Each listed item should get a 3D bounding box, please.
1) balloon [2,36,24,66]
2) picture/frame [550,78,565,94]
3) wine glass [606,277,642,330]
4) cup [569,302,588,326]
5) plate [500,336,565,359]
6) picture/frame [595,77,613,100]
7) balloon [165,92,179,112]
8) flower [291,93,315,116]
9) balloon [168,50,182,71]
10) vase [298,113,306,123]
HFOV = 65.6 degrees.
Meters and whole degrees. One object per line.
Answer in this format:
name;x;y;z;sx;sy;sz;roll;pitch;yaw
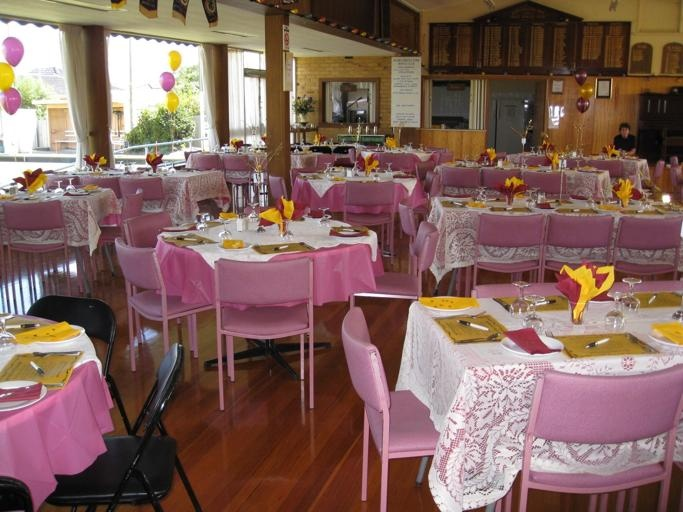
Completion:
balloon;-4.426;-2.752;7.172;0.260;0.350;0.181;-11;16;-31
picture/frame;5.610;-4.381;13.763;0.296;0.357;0.077;-3;8;-5
wine glass;1.433;0.249;2.696;0.104;0.199;0.311;8;25;35
cup;1.172;0.266;2.632;0.075;0.114;0.105;4;16;25
plate;0.840;0.398;2.317;0.264;0.044;0.184;-4;15;-1
picture/frame;6.777;-4.323;13.670;0.456;0.709;0.045;1;14;8
balloon;-3.452;-3.129;10.907;0.263;0.387;0.265;6;8;30
flower;-1.043;-4.190;14.694;0.552;0.671;0.570;-22;32;-22
balloon;-3.176;-3.737;10.152;0.258;0.334;0.561;-7;15;-15
vase;-1.071;-3.744;14.506;0.212;0.276;0.243;6;17;17
